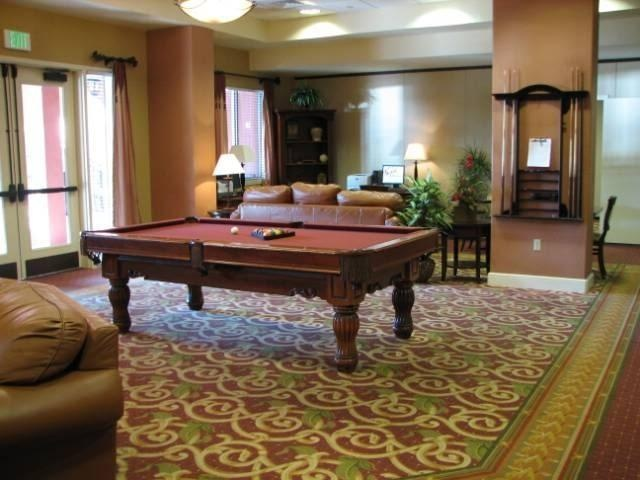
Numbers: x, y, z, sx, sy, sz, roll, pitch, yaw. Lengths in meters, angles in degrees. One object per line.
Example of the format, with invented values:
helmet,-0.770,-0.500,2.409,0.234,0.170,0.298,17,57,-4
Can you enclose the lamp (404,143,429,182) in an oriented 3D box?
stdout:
lamp,1.932,-1.616,10.046,0.446,0.703,0.587,1,11,12

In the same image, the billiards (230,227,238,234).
billiards,-0.785,-0.095,4.704,0.079,0.054,0.077,-15,-11,43

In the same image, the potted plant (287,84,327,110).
potted plant,-0.286,-3.110,10.690,0.746,0.572,0.827,0,11,2

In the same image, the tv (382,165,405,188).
tv,1.487,-1.286,10.015,0.574,0.470,0.058,1,-1,28
